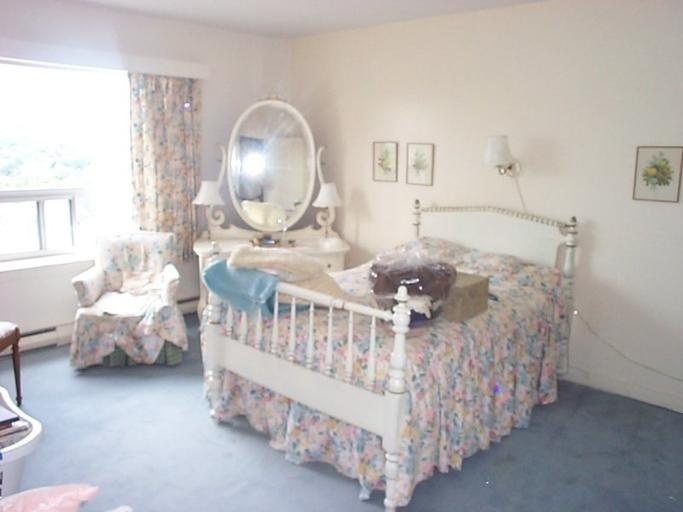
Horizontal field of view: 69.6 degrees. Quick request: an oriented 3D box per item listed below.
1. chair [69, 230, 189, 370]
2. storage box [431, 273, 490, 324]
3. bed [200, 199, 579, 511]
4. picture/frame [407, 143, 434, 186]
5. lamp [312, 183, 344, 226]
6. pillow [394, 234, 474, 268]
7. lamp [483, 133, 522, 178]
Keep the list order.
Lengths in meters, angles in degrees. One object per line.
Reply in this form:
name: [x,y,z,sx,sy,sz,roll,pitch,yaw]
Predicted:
chair: [-1.929,0.395,4.621,0.969,1.136,1.096,1,8,-4]
storage box: [0.831,0.242,3.393,0.320,0.216,0.309,-16,22,-42]
bed: [0.607,0.564,3.847,1.928,1.521,2.444,15,22,43]
picture/frame: [0.818,-0.943,4.981,0.355,0.530,0.035,13,20,40]
lamp: [-0.125,-0.563,5.433,0.376,0.587,0.413,-3,19,0]
pillow: [0.883,-0.054,4.559,0.418,0.111,0.389,12,16,24]
lamp: [1.438,-0.878,4.336,0.265,0.365,0.247,8,14,32]
